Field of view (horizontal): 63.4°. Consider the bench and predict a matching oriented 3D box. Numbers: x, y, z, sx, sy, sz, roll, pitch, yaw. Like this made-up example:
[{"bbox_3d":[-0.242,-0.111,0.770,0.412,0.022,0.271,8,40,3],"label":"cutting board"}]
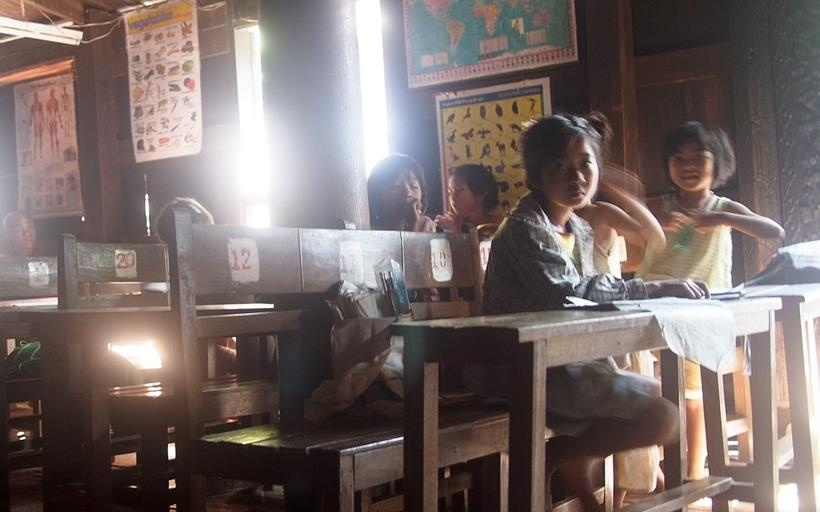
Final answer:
[{"bbox_3d":[-0.971,0.623,3.850,2.278,1.259,0.771,0,-4,-33],"label":"bench"}]
